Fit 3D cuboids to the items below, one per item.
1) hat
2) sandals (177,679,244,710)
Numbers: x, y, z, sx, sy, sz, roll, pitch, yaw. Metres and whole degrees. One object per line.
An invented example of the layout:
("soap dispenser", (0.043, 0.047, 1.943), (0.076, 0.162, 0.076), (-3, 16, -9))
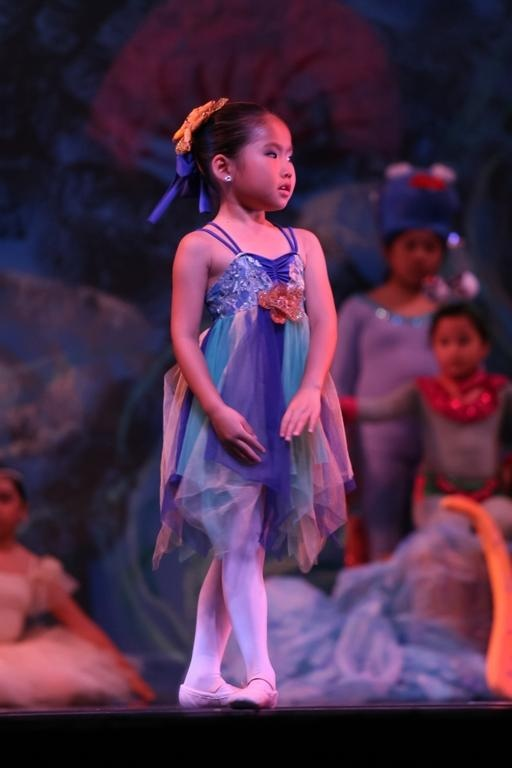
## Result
("hat", (0.454, -0.523, 2.604), (0.187, 0.175, 0.237), (4, 25, 3))
("sandals", (-0.093, 0.561, 1.629), (0.139, 0.053, 0.044), (-13, 73, 30))
